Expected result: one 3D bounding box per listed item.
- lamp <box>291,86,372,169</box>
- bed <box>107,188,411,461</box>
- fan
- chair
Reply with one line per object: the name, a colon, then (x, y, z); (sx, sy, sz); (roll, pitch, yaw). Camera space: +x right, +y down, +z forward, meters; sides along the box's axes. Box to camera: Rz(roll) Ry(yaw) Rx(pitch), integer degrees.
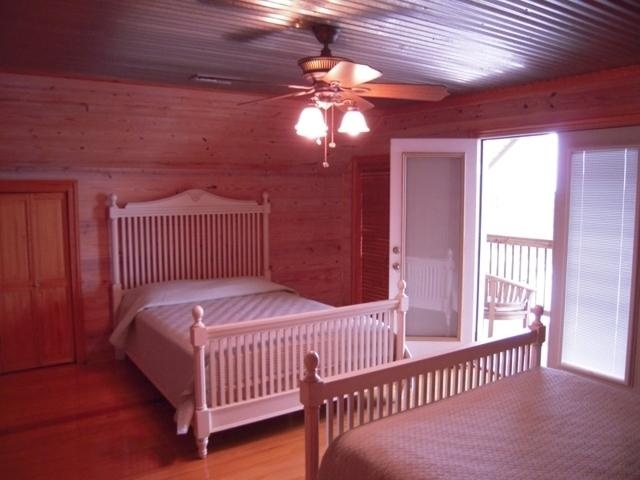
lamp: (0.082, -0.801, 3.284); (0.469, 0.431, 0.335); (8, 36, 15)
bed: (-0.766, 0.498, 4.765); (2.074, 1.677, 2.675); (-4, 9, -36)
fan: (0.066, -1.167, 3.328); (1.309, 0.488, 1.216); (1, 4, 13)
chair: (1.872, 0.712, 4.956); (0.484, 0.596, 0.515); (10, 0, 19)
